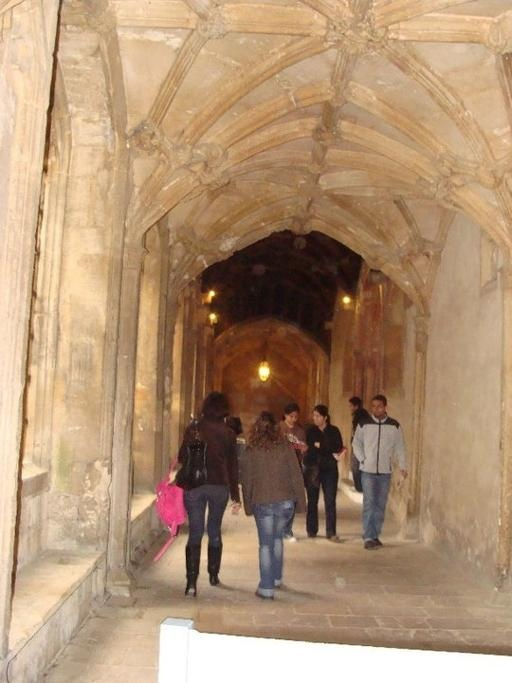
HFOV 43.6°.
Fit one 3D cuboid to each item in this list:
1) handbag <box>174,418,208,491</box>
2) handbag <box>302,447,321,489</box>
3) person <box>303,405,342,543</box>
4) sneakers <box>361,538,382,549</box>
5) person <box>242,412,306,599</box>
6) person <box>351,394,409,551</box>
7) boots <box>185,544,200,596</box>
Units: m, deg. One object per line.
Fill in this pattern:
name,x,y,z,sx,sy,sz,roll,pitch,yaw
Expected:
handbag,-0.483,0.860,4.863,0.269,0.524,0.156,-8,-7,38
handbag,0.615,1.445,7.298,0.112,0.387,0.294,2,6,-18
person,0.746,1.485,7.332,0.468,1.520,0.694,-4,-6,3
sneakers,1.226,2.186,6.950,0.189,0.124,0.355,-4,-5,14
person,0.127,1.224,4.917,0.472,1.370,0.374,-3,-6,-3
person,1.317,1.405,6.926,0.560,1.649,0.369,-4,-6,8
boots,-0.481,1.691,4.793,0.111,0.346,0.273,-3,-6,-5
